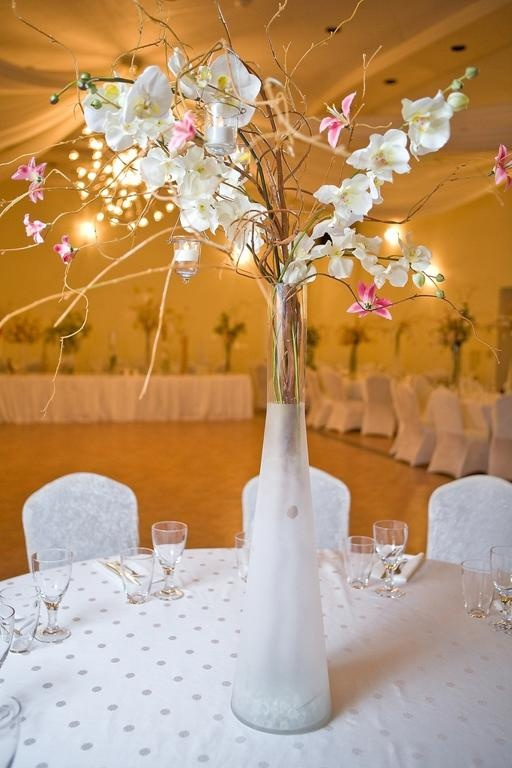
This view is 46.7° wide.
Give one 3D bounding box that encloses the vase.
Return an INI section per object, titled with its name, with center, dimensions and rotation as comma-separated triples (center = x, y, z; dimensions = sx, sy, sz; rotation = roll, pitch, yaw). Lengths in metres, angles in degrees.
[vase]
center = 0.041, 0.278, 0.878
dimensions = 0.144, 0.495, 0.074
rotation = 2, 5, 7

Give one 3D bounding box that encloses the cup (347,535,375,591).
[cup]
center = 0.265, 0.451, 1.517
dimensions = 0.086, 0.133, 0.087
rotation = 7, -5, 1

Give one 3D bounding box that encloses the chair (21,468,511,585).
[chair]
center = 0.061, 0.519, 2.185
dimensions = 0.935, 0.351, 0.226
rotation = 0, -8, -6
